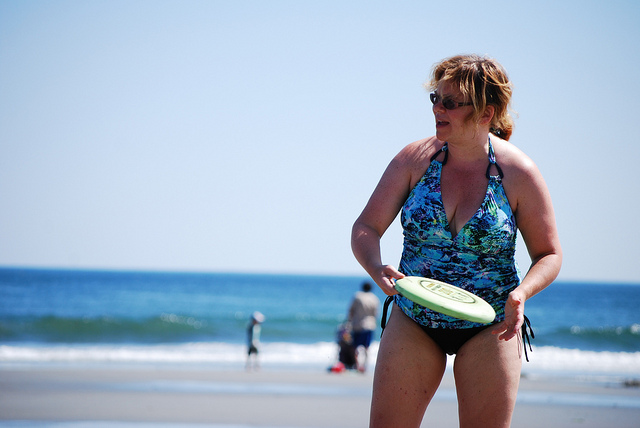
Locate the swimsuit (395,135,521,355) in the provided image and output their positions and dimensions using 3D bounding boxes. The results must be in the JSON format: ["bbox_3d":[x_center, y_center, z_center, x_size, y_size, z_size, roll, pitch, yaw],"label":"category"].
[{"bbox_3d":[1.409,0.289,9.216,1.140,2.201,1.107,0,-2,0],"label":"swimsuit"}]
